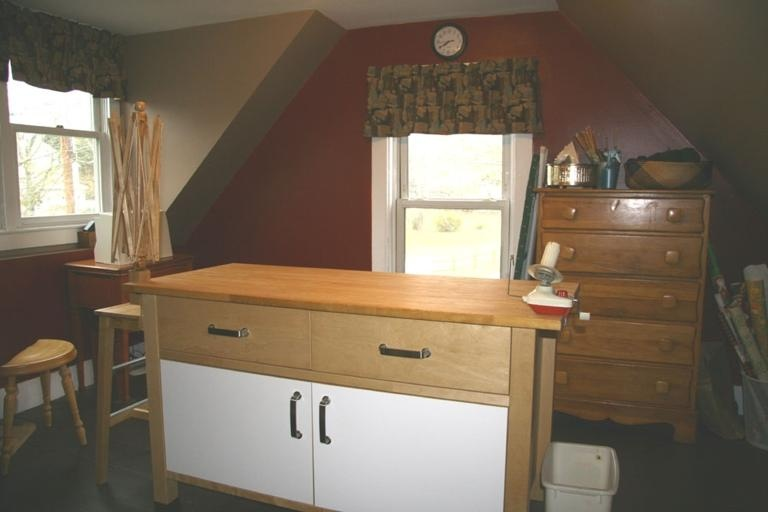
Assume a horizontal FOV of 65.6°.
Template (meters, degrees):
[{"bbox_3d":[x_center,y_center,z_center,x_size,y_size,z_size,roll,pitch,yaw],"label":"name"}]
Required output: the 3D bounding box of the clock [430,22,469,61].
[{"bbox_3d":[0.572,-1.839,5.157,0.277,0.291,0.285,4,13,19],"label":"clock"}]

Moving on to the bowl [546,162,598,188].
[{"bbox_3d":[1.451,-0.624,4.624,0.272,0.144,0.214,4,12,22],"label":"bowl"}]

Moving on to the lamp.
[{"bbox_3d":[0.882,0.147,3.338,0.359,0.493,0.310,6,-9,9],"label":"lamp"}]

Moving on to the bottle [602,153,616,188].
[{"bbox_3d":[1.798,-0.664,4.702,0.101,0.270,0.289,3,6,20],"label":"bottle"}]
